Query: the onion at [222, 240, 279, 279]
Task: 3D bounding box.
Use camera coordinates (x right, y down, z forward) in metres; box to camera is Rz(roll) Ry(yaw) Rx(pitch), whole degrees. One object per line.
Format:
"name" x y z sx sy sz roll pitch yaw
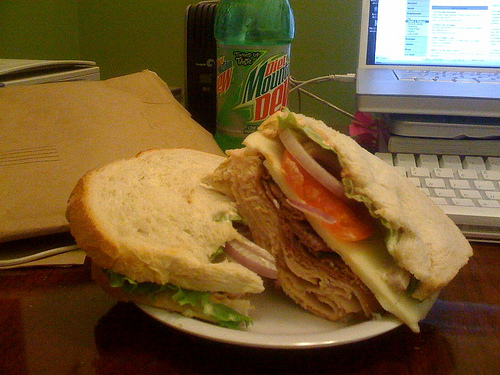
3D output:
"onion" 0.001 0.097 0.543 0.056 0.016 0.061 41 14 28

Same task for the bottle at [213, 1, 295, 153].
"bottle" 0.017 -0.212 0.973 0.194 0.403 0.173 -6 21 -23

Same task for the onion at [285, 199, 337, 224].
"onion" 0.081 0.031 0.524 0.016 0.015 0.077 24 0 -43

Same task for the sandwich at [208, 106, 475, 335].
"sandwich" 0.076 0.065 0.599 0.335 0.165 0.285 35 33 5

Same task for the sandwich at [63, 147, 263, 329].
"sandwich" -0.117 0.046 0.611 0.295 0.070 0.324 -11 41 -36

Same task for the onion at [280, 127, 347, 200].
"onion" 0.080 -0.039 0.534 0.109 0.083 0.065 25 24 37
